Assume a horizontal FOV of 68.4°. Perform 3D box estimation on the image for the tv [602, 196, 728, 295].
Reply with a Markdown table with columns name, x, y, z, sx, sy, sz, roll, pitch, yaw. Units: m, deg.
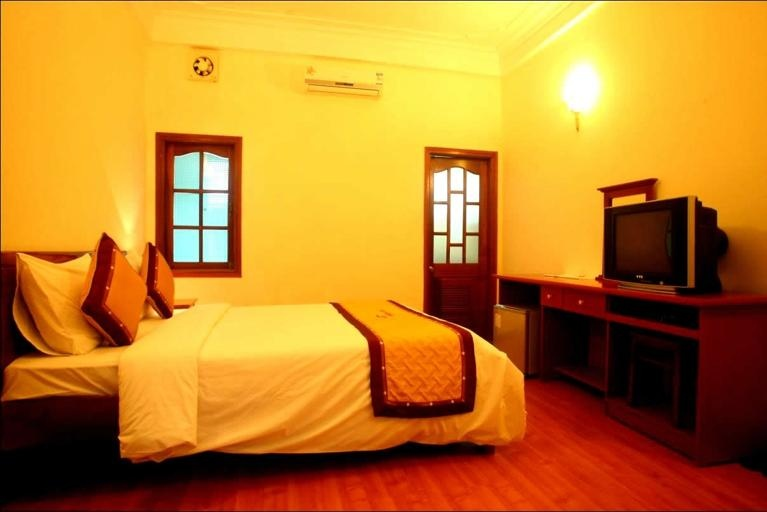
| name | x | y | z | sx | sy | sz | roll | pitch | yaw |
| --- | --- | --- | --- | --- | --- | --- | --- | --- | --- |
| tv | 2.223 | -0.067 | 4.375 | 0.609 | 0.679 | 0.836 | -1 | 1 | -21 |

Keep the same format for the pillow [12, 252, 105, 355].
| name | x | y | z | sx | sy | sz | roll | pitch | yaw |
| --- | --- | --- | --- | --- | --- | --- | --- | --- | --- |
| pillow | -2.096 | 0.300 | 3.624 | 0.473 | 0.641 | 0.327 | -4 | 8 | -35 |
